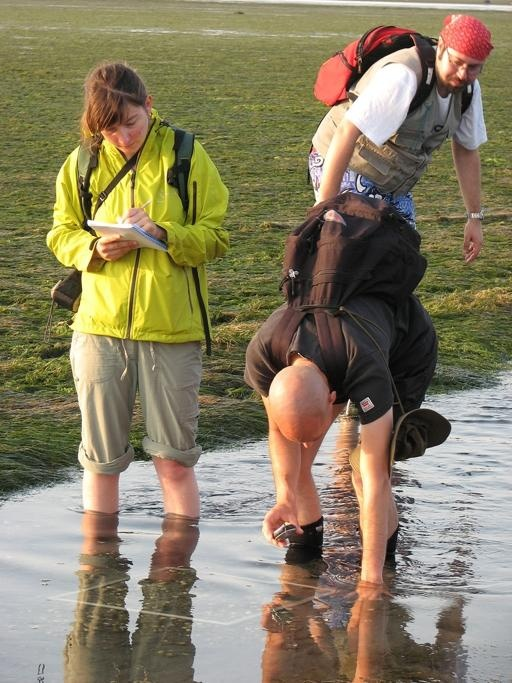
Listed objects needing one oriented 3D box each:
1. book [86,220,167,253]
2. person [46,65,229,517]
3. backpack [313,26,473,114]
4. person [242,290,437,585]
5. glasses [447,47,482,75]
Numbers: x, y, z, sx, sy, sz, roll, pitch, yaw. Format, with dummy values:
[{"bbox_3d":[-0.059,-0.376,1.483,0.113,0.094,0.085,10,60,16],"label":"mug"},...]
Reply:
[{"bbox_3d":[-0.474,-0.357,3.336,0.195,0.044,0.177,10,-2,31],"label":"book"},{"bbox_3d":[-0.499,-0.152,3.618,0.722,1.880,0.546,4,13,-3],"label":"person"},{"bbox_3d":[0.568,-1.243,4.170,0.483,0.388,0.312,33,26,7],"label":"backpack"},{"bbox_3d":[0.265,0.401,3.382,0.688,1.150,0.950,7,11,10],"label":"person"},{"bbox_3d":[0.859,-1.164,3.792,0.129,0.059,0.138,17,-20,-5],"label":"glasses"}]
